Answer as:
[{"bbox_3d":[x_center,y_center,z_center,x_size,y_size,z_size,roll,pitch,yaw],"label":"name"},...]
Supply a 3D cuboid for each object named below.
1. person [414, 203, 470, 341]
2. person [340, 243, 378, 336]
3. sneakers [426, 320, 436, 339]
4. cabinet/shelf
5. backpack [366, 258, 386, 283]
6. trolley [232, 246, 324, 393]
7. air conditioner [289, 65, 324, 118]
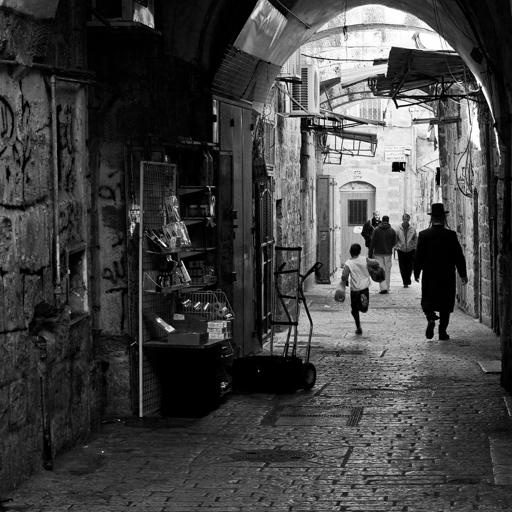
[{"bbox_3d":[2.826,0.254,11.601,0.774,2.163,0.977,1,1,15],"label":"person"},{"bbox_3d":[1.751,0.545,12.800,0.554,1.531,2.331,1,2,8],"label":"person"},{"bbox_3d":[2.725,1.137,11.745,0.107,0.391,0.131,1,-3,1],"label":"sneakers"},{"bbox_3d":[-0.736,0.147,8.079,0.994,2.793,2.106,0,1,3],"label":"cabinet/shelf"},{"bbox_3d":[2.006,0.247,12.720,0.306,0.449,0.124,-31,21,-33],"label":"backpack"},{"bbox_3d":[0.229,0.671,8.623,0.786,1.683,1.010,1,-6,14],"label":"trolley"},{"bbox_3d":[1.137,-3.942,17.660,0.558,1.179,0.696,0,13,4],"label":"air conditioner"}]
